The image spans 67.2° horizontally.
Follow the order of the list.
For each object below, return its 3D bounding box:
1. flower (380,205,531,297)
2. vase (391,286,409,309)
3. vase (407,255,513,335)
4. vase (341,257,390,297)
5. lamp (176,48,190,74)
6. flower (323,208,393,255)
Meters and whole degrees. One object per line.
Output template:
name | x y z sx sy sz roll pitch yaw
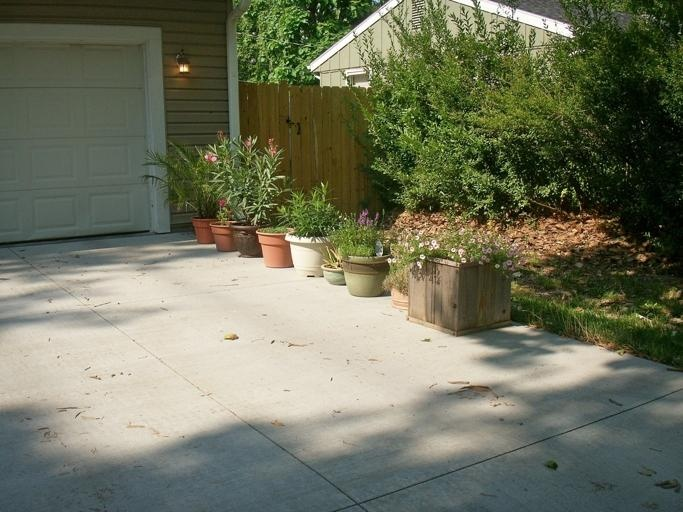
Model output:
flower | 0.934 -0.172 5.241 1.449 0.592 1.476 17 20 41
vase | 0.622 0.448 5.502 0.217 0.145 0.206 1 4 2
vase | 1.101 0.360 4.921 0.984 0.702 0.500 0 6 16
vase | 0.254 0.200 6.045 0.510 0.344 0.492 -3 6 -28
lamp | -2.903 -3.536 9.369 0.235 0.429 0.161 -3 6 -20
flower | 0.227 -0.250 6.338 0.859 0.506 0.816 -3 18 -8
